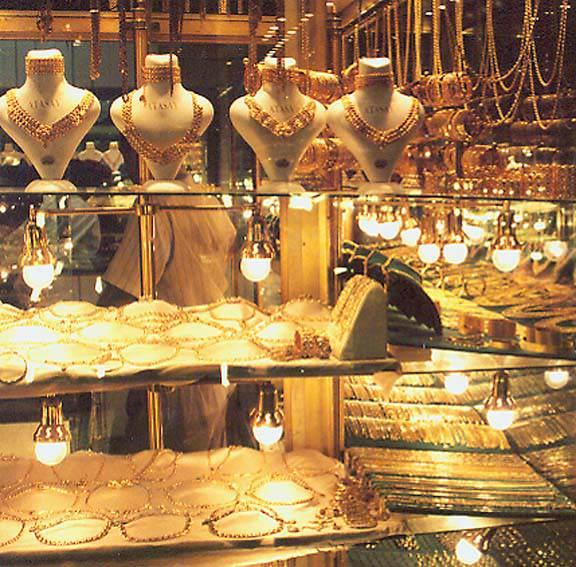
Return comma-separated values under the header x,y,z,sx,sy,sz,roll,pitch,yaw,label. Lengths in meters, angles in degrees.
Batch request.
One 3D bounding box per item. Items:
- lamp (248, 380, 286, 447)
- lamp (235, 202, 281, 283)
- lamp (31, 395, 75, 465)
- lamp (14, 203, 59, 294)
x,y,z,sx,sy,sz,roll,pitch,yaw,label
-0.053,0.333,3.355,0.099,0.164,0.092,2,3,-26,lamp
-0.069,-0.111,3.254,0.075,0.189,0.154,1,11,3,lamp
-0.560,0.349,3.235,0.083,0.189,0.131,-1,12,-6,lamp
-0.602,-0.069,3.273,0.080,0.296,0.366,-2,12,-10,lamp
